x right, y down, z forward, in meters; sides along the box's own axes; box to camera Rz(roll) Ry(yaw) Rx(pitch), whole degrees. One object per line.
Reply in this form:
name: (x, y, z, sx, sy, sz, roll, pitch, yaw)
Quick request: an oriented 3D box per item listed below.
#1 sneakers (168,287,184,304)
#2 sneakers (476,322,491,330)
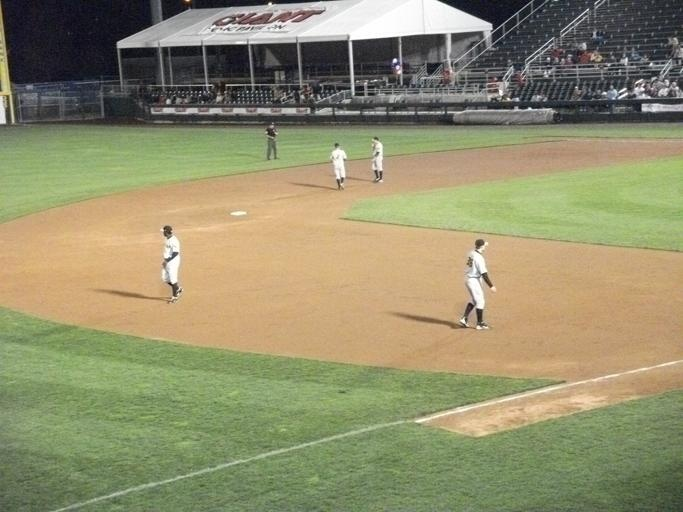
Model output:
sneakers: (-3.616, 0.872, 18.040, 0.213, 0.497, 0.166, 49, -2, -14)
sneakers: (2.739, 1.346, 15.819, 0.325, 0.101, 0.105, -1, 19, -6)
